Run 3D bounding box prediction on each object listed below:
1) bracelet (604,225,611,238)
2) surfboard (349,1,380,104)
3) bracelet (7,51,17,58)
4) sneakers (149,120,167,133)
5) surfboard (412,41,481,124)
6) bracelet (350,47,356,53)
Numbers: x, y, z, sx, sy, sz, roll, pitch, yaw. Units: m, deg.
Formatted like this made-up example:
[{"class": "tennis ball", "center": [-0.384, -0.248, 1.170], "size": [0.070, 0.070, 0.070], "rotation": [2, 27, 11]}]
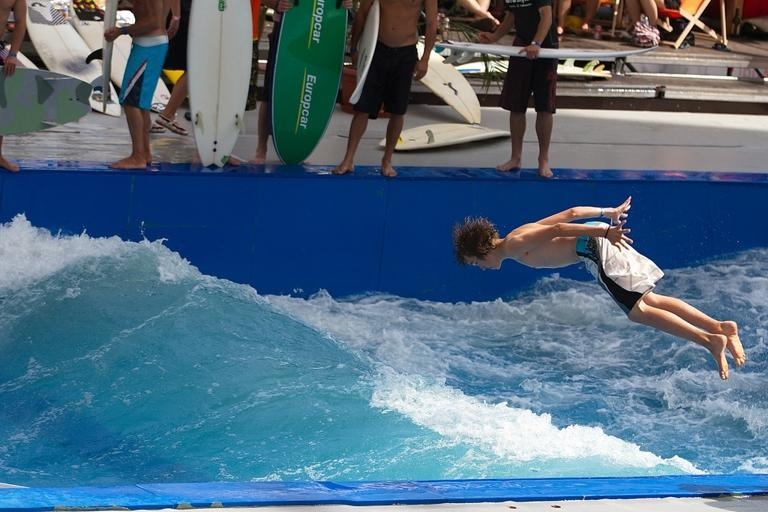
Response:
[{"class": "bracelet", "center": [1.654, -0.172, 5.878], "size": [0.030, 0.077, 0.056], "rotation": [16, 22, -1]}, {"class": "surfboard", "center": [-0.162, -1.745, 6.853], "size": [0.227, 0.874, 0.393], "rotation": [2, 11, -1]}, {"class": "bracelet", "center": [-3.012, -1.622, 6.423], "size": [0.059, 0.042, 0.058], "rotation": [14, 25, 22]}, {"class": "sneakers", "center": [-2.278, -1.272, 7.861], "size": [0.261, 0.092, 0.095], "rotation": [12, 17, 31]}, {"class": "surfboard", "center": [0.775, -1.968, 9.286], "size": [0.489, 0.206, 1.481], "rotation": [-8, 50, -27]}, {"class": "bracelet", "center": [-0.284, -1.830, 7.069], "size": [0.059, 0.054, 0.052], "rotation": [10, 25, 22]}]
